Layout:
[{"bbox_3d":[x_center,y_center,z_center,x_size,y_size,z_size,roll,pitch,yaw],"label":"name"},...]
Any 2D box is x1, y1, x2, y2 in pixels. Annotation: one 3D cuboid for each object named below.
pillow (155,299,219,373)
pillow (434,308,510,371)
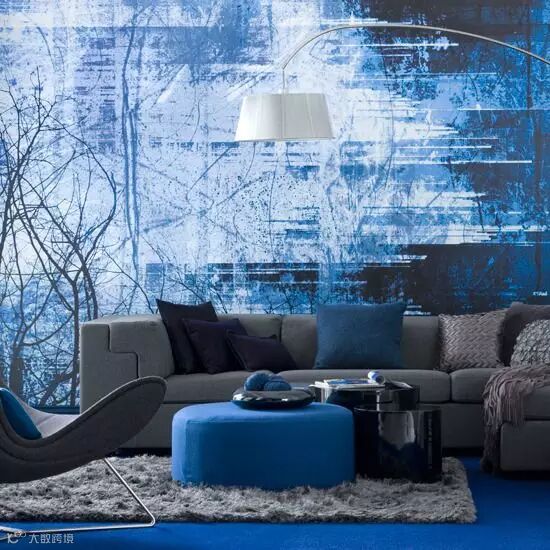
[{"bbox_3d":[-0.573,0.399,6.784,0.130,0.432,0.457,-24,-20,31],"label":"pillow"},{"bbox_3d":[1.283,0.438,6.856,0.358,0.367,0.134,-4,-40,21],"label":"pillow"}]
